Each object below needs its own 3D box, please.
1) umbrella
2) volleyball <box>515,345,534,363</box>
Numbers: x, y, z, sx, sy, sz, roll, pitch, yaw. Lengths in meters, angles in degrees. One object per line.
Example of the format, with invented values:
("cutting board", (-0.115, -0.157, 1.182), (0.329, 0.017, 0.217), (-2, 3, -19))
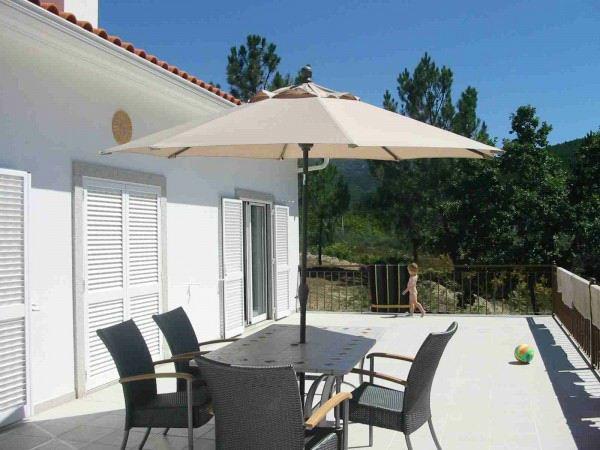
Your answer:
("umbrella", (0.073, -0.397, 5.932), (3.148, 2.954, 3.449), (0, -1, 2))
("volleyball", (3.098, 1.745, 7.483), (0.215, 0.261, 0.230), (3, -3, 4))
